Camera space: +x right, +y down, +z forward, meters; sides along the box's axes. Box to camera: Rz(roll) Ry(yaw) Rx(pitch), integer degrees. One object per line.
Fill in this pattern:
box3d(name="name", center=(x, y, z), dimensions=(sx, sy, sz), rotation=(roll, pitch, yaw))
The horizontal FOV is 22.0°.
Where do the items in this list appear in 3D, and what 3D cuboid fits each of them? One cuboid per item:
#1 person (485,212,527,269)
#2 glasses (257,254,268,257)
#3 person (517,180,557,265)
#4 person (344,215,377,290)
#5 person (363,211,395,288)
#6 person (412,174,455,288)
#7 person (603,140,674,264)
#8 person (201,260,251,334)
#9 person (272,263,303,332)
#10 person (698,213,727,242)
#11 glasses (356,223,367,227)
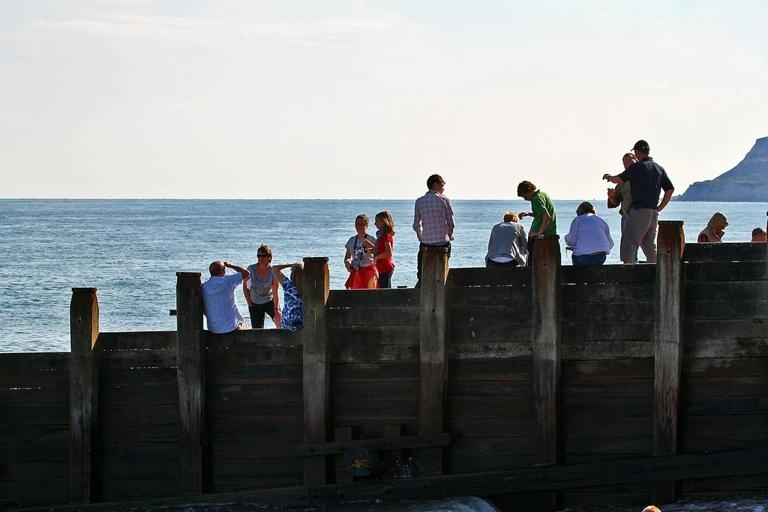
box3d(name="person", center=(3.262, -0.484, 52.592), dimensions=(1.072, 1.391, 0.641), rotation=(1, 3, 2))
box3d(name="glasses", center=(-3.271, -0.059, 52.804), dimensions=(0.349, 0.091, 0.151), rotation=(3, 4, 35))
box3d(name="person", center=(4.125, -0.635, 53.316), dimensions=(1.183, 2.794, 1.499), rotation=(-2, 3, -3))
box3d(name="person", center=(-0.624, -0.158, 53.485), dimensions=(0.814, 2.020, 0.839), rotation=(0, -1, -2))
box3d(name="person", center=(-0.069, -0.225, 53.438), dimensions=(0.734, 1.868, 0.681), rotation=(6, -2, -4))
box3d(name="person", center=(1.497, -0.468, 53.226), dimensions=(1.264, 3.439, 1.092), rotation=(0, 0, 26))
box3d(name="person", center=(6.797, -1.495, 52.291), dimensions=(1.415, 3.218, 0.676), rotation=(1, 3, 5))
box3d(name="person", center=(-4.146, 1.040, 51.193), dimensions=(1.048, 1.825, 0.432), rotation=(0, 3, -5))
box3d(name="person", center=(-2.474, 1.033, 51.336), dimensions=(0.713, 1.871, 0.656), rotation=(-1, -1, -3))
box3d(name="person", center=(8.766, -0.842, 53.045), dimensions=(0.705, 0.771, 1.927), rotation=(1, 4, 9))
box3d(name="glasses", center=(-0.600, -0.913, 53.093), dimensions=(0.281, 0.132, 0.203), rotation=(1, 3, 0))
